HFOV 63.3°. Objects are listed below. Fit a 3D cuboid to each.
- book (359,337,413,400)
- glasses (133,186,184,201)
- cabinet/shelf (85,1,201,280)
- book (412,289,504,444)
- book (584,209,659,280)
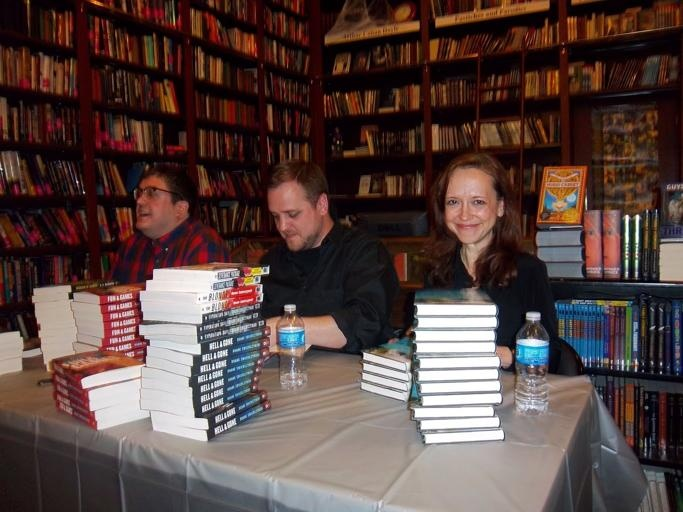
[{"bbox_3d":[0.172,0.403,1.939,0.142,0.105,0.199,4,7,31],"label":"book"},{"bbox_3d":[-1.052,-0.355,3.197,0.281,0.098,0.120,-6,6,-13],"label":"glasses"},{"bbox_3d":[-1.036,-0.433,3.209,0.563,1.544,1.031,9,-7,-22],"label":"cabinet/shelf"},{"bbox_3d":[0.341,0.347,1.659,0.277,0.408,0.136,-1,-30,4],"label":"book"},{"bbox_3d":[1.518,-0.058,3.006,0.367,0.383,0.175,-1,6,27],"label":"book"}]
